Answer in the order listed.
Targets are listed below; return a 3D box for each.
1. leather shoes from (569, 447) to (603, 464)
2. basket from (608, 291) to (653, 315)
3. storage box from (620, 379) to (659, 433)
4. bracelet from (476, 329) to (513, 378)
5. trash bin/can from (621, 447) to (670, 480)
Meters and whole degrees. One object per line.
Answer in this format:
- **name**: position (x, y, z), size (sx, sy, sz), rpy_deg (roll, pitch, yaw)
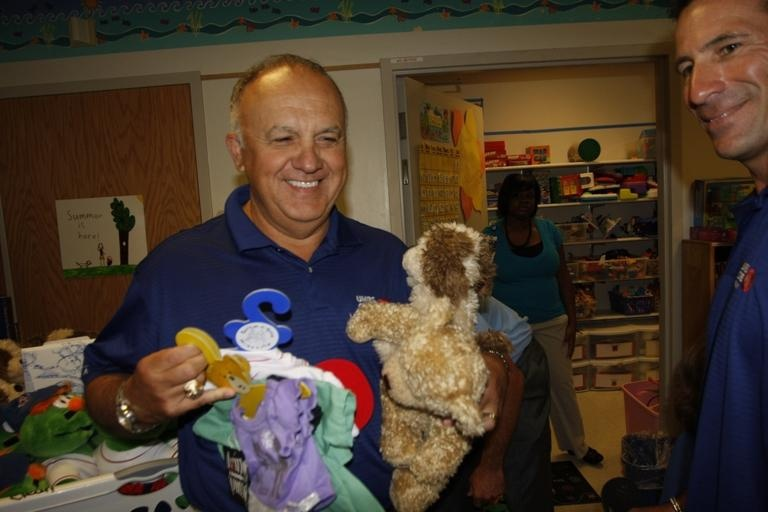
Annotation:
- **leather shoes**: position (1.618, 1.605, 4.820), size (0.271, 0.115, 0.105), rpy_deg (0, 5, 43)
- **basket**: position (2.731, 0.494, 6.620), size (0.230, 0.150, 0.312), rpy_deg (0, 6, -12)
- **storage box**: position (2.078, 1.275, 4.891), size (0.248, 0.339, 0.355), rpy_deg (4, -6, 22)
- **bracelet**: position (0.495, 0.419, 2.648), size (0.146, 0.105, 0.200), rpy_deg (-2, 22, 4)
- **trash bin/can**: position (1.739, 1.385, 3.956), size (0.285, 0.174, 0.265), rpy_deg (0, 5, 22)
